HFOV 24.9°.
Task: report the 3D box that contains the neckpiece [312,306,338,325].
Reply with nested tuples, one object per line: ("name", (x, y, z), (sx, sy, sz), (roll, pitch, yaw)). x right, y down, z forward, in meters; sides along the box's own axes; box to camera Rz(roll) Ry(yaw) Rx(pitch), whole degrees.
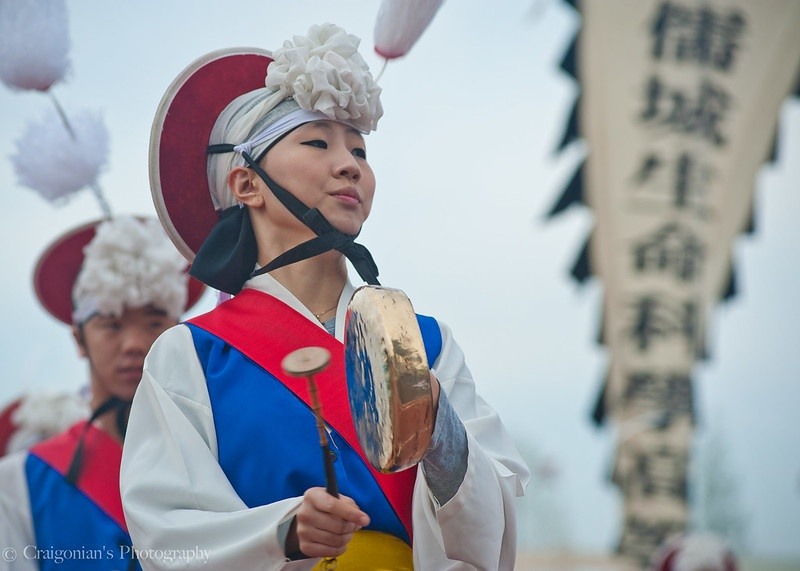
("neckpiece", (-0.292, 0.105, 6.948), (0.092, 0.065, 0.020), (-14, -20, -9))

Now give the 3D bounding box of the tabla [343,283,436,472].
("tabla", (-0.061, 0.313, 6.364), (0.348, 0.656, 0.230), (-10, -14, 17))

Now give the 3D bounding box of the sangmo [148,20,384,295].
("sangmo", (-0.609, -0.516, 7.082), (0.266, 1.029, 1.109), (5, 3, 39))

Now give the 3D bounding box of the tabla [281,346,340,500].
("tabla", (-0.317, 0.485, 6.433), (0.176, 0.528, 0.477), (-6, -13, -4))
